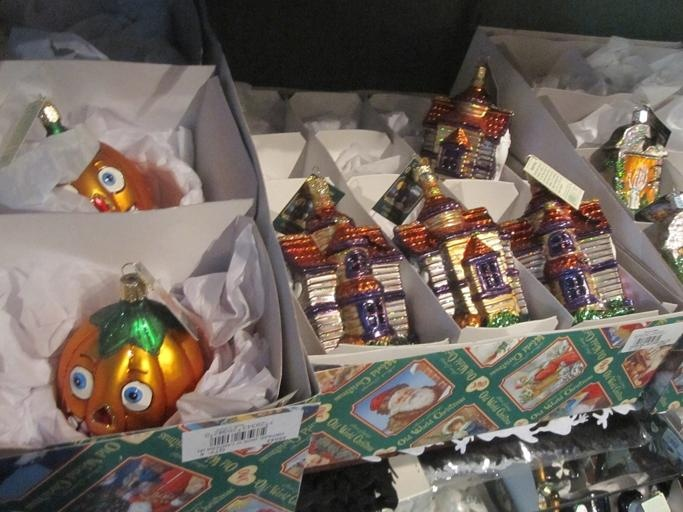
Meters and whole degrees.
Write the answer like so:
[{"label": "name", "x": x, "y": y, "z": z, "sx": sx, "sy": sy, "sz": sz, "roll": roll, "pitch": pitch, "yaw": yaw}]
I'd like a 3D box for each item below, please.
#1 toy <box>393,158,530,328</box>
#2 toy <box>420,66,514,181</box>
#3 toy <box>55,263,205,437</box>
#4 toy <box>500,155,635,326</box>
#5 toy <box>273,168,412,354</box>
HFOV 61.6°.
[{"label": "toy", "x": 0.268, "y": -0.013, "z": 1.370, "sx": 0.286, "sy": 0.223, "sz": 0.420, "roll": -15, "pitch": 80, "yaw": -25}, {"label": "toy", "x": 0.361, "y": -0.382, "z": 1.627, "sx": 0.233, "sy": 0.299, "sz": 0.194, "roll": 19, "pitch": 22, "yaw": 26}, {"label": "toy", "x": -0.366, "y": 0.170, "z": 1.016, "sx": 0.242, "sy": 0.277, "sz": 0.235, "roll": 6, "pitch": 16, "yaw": -12}, {"label": "toy", "x": 0.520, "y": -0.050, "z": 1.426, "sx": 0.294, "sy": 0.259, "sz": 0.363, "roll": -14, "pitch": 97, "yaw": 17}, {"label": "toy", "x": -0.013, "y": 0.010, "z": 1.295, "sx": 0.270, "sy": 0.287, "sz": 0.365, "roll": -11, "pitch": 94, "yaw": -39}]
